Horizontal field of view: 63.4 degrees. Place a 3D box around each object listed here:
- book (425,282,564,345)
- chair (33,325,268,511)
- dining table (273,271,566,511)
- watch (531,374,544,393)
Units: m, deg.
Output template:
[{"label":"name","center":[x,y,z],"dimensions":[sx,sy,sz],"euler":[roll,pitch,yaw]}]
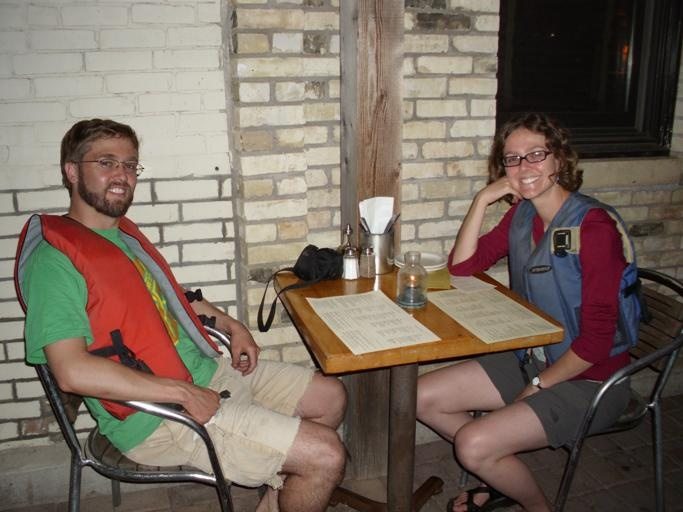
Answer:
[{"label":"book","center":[0.598,0.233,2.212],"dimensions":[0.210,0.013,0.355],"euler":[-9,19,-15]},{"label":"chair","center":[-0.742,0.616,2.494],"dimensions":[0.788,1.076,0.685],"euler":[-3,19,-10]},{"label":"dining table","center":[0.225,0.584,2.718],"dimensions":[1.117,1.014,1.069],"euler":[-5,26,-12]},{"label":"watch","center":[0.796,0.512,2.264],"dimensions":[0.057,0.056,0.035],"euler":[27,-38,-27]}]
